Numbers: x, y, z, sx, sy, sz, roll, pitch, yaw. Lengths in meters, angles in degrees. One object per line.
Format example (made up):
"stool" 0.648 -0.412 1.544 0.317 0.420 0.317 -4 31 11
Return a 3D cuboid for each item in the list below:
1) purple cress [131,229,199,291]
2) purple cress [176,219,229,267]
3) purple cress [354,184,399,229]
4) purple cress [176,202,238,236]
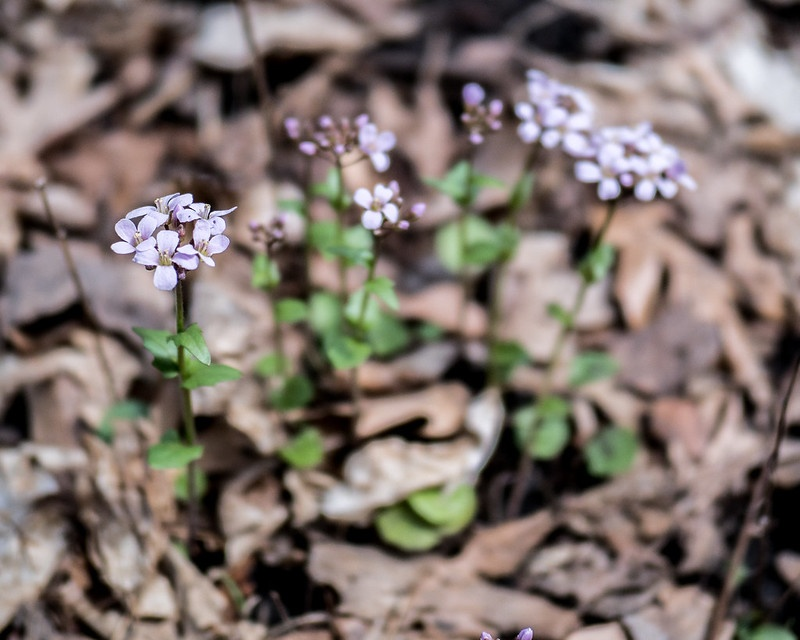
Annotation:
"purple cress" -0.906 -0.238 3.688 0.204 0.136 0.217 -42 82 -10
"purple cress" -0.783 -0.268 3.697 0.161 0.094 0.173 31 30 10
"purple cress" -0.091 -0.473 4.087 0.183 0.165 0.181 -13 78 -4
"purple cress" -0.795 -0.369 3.762 0.176 0.089 0.177 36 37 26
